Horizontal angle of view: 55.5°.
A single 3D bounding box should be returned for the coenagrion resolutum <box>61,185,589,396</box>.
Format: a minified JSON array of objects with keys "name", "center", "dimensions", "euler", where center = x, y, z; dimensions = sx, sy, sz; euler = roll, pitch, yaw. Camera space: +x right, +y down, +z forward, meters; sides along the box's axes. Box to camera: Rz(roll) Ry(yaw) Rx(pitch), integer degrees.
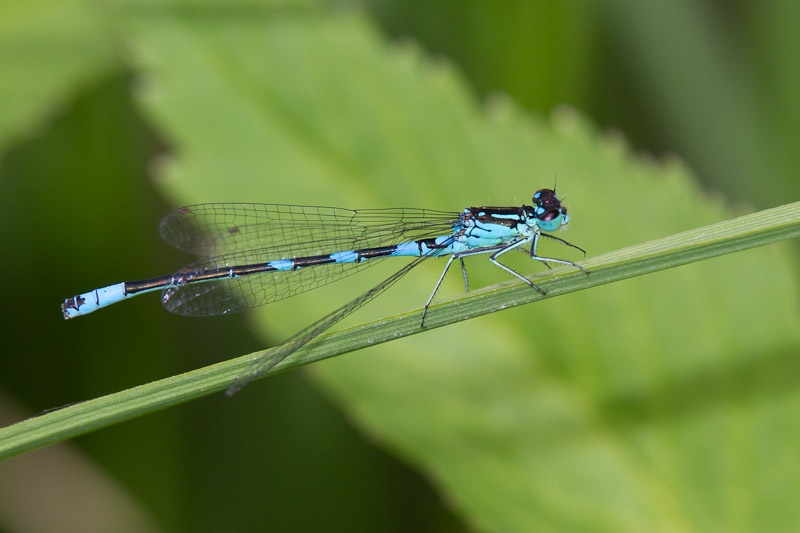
[{"name":"coenagrion resolutum","center":[-0.350,0.152,6.547],"dimensions":[4.984,1.398,1.487],"euler":[-15,20,-23]}]
